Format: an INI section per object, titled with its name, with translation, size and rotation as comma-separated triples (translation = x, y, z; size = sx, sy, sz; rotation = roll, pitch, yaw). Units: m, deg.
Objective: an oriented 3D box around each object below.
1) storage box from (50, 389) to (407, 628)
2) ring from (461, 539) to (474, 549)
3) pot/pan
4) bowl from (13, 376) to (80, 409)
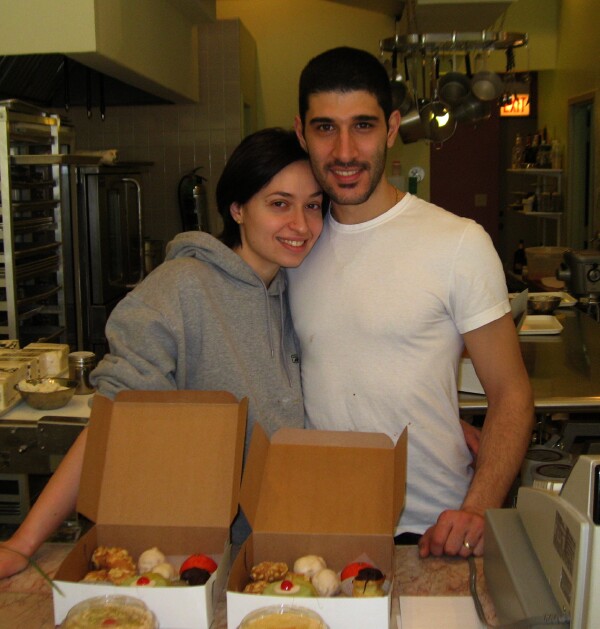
[storage box]
translation = -0.089, 0.260, 0.871
size = 0.463, 0.259, 0.310
rotation = 0, 8, 9
[ring]
translation = 0.283, 0.388, 1.062
size = 0.009, 0.010, 0.009
rotation = 22, 37, -18
[pot/pan]
translation = 0.927, -1.331, 3.930
size = 0.486, 0.414, 0.845
rotation = -3, -10, 13
[bowl]
translation = -0.909, 0.285, 2.256
size = 0.129, 0.049, 0.130
rotation = 1, 4, 0
